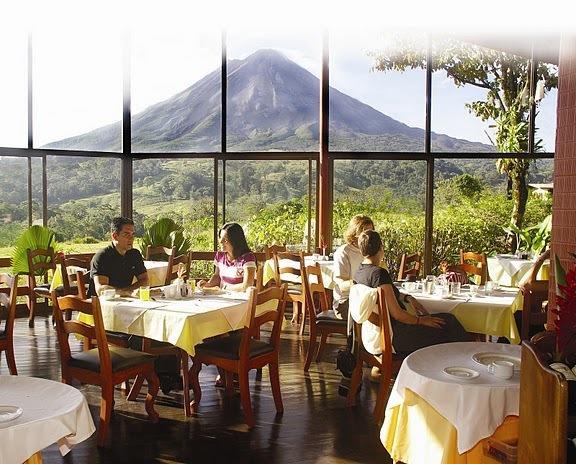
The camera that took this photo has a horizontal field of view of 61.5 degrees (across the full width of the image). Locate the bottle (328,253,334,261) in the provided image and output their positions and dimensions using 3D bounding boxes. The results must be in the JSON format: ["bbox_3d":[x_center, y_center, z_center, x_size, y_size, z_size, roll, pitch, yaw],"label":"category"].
[{"bbox_3d":[0.601,0.332,6.800,0.105,0.122,0.081,3,-5,-34],"label":"bottle"}]

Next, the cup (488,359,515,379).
[{"bbox_3d":[1.081,0.681,2.439,0.094,0.060,0.080,-2,2,-7],"label":"cup"}]

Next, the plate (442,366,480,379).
[{"bbox_3d":[0.870,0.708,2.450,0.158,0.022,0.170,-3,6,-38],"label":"plate"}]

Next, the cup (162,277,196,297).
[{"bbox_3d":[-0.955,0.455,4.112,0.153,0.107,0.199,0,-4,-41],"label":"cup"}]

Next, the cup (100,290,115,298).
[{"bbox_3d":[-1.470,0.493,3.932,0.091,0.080,0.076,-2,-2,-6],"label":"cup"}]

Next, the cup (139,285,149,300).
[{"bbox_3d":[-1.177,0.484,3.944,0.080,0.110,0.089,2,5,7],"label":"cup"}]

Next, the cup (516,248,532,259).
[{"bbox_3d":[3.345,0.307,6.815,0.184,0.167,0.206,1,-2,-1],"label":"cup"}]

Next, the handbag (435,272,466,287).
[{"bbox_3d":[1.546,0.421,4.580,0.192,0.082,0.164,-1,-2,-6],"label":"handbag"}]
